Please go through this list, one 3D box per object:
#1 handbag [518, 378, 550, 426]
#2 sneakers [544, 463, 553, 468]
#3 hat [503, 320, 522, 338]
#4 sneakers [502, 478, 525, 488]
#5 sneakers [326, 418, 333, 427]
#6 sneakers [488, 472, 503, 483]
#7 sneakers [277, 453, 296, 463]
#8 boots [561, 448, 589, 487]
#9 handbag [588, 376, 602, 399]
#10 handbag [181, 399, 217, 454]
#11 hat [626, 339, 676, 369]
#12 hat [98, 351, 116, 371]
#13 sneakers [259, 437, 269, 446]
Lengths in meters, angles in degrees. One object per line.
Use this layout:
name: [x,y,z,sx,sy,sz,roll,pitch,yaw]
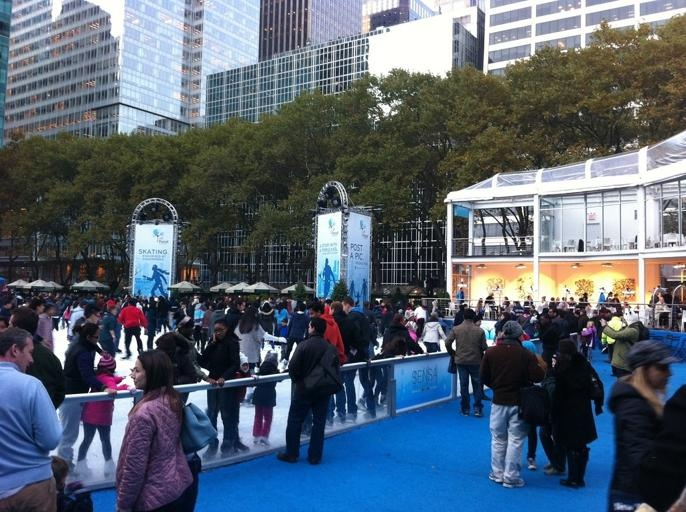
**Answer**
handbag: [2.839,2.248,10.617,0.632,0.881,0.335,2,-8,15]
sneakers: [3.289,3.444,11.382,0.057,0.117,0.155,10,-16,-33]
hat: [2.636,1.167,11.081,0.292,0.287,0.307,5,5,13]
sneakers: [2.583,3.513,10.790,0.326,0.161,0.127,-4,1,-10]
sneakers: [-0.272,3.074,12.851,0.130,0.087,0.126,2,-3,-30]
sneakers: [2.341,3.481,10.912,0.247,0.125,0.107,7,6,35]
sneakers: [-0.934,3.348,11.586,0.348,0.155,0.130,5,1,41]
boots: [3.529,3.222,10.764,0.377,0.684,0.293,4,5,4]
handbag: [3.826,2.030,10.632,0.138,0.352,0.265,7,7,41]
handbag: [-1.750,1.911,8.049,0.291,0.572,0.500,-8,1,2]
hat: [3.427,1.102,7.911,0.421,0.224,0.312,-6,-7,10]
hat: [-3.615,1.630,10.681,0.253,0.310,0.344,2,5,-19]
sneakers: [-1.331,3.125,11.710,0.063,0.084,0.195,1,-1,31]
